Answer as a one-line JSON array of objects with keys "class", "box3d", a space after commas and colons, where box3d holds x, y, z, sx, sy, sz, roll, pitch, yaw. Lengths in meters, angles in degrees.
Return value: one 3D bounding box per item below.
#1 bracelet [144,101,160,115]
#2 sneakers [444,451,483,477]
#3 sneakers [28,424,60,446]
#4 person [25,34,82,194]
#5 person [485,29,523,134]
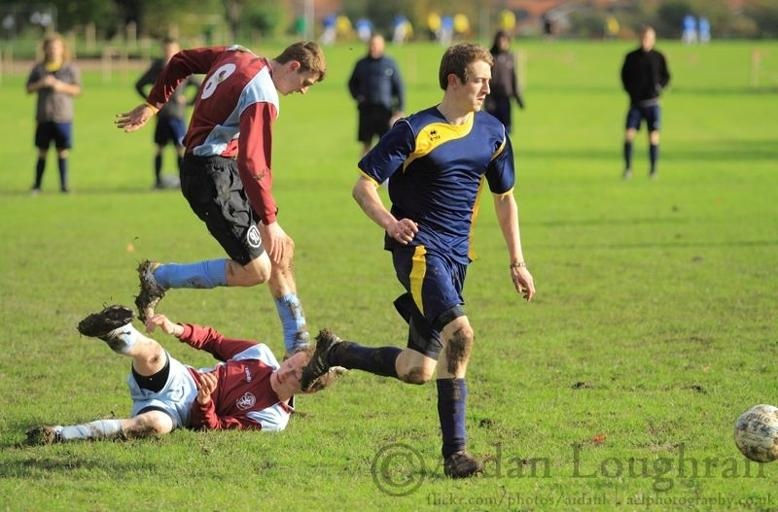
[{"class": "bracelet", "box3d": [-2.970, -1.831, 17.018, 0.190, 0.145, 0.187, 41, 3, -7]}, {"class": "sneakers", "box3d": [0.841, 2.336, 15.335, 0.389, 0.197, 0.228, -5, 0, 20]}, {"class": "sneakers", "box3d": [-3.967, 2.056, 15.686, 0.359, 0.204, 0.118, -4, 10, -16]}, {"class": "person", "box3d": [-5.720, -2.439, 23.395, 0.884, 2.693, 1.177, -3, 10, -15]}, {"class": "person", "box3d": [2.335, -3.294, 27.289, 0.743, 2.338, 0.584, -3, 30, -1]}]
